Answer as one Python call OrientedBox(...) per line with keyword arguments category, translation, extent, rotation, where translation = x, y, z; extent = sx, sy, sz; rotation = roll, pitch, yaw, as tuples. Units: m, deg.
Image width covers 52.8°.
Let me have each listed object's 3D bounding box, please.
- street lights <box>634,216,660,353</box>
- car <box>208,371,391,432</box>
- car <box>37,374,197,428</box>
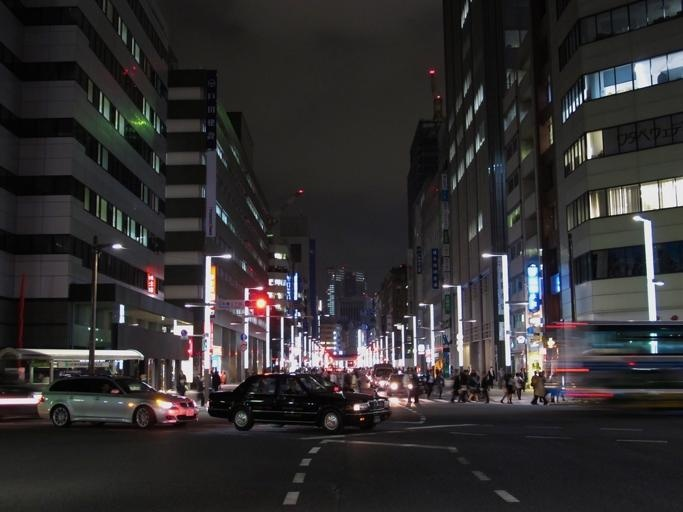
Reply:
OrientedBox(category="street lights", translation=(18.795, 1.724, 42.214), extent=(0.532, 7.788, 0.879), rotation=(-4, -5, 3))
OrientedBox(category="car", translation=(-1.575, 5.406, 24.990), extent=(5.619, 2.054, 2.748), rotation=(-4, -8, 20))
OrientedBox(category="car", translation=(-9.133, 5.644, 26.940), extent=(5.094, 1.858, 2.472), rotation=(0, -9, -1))
